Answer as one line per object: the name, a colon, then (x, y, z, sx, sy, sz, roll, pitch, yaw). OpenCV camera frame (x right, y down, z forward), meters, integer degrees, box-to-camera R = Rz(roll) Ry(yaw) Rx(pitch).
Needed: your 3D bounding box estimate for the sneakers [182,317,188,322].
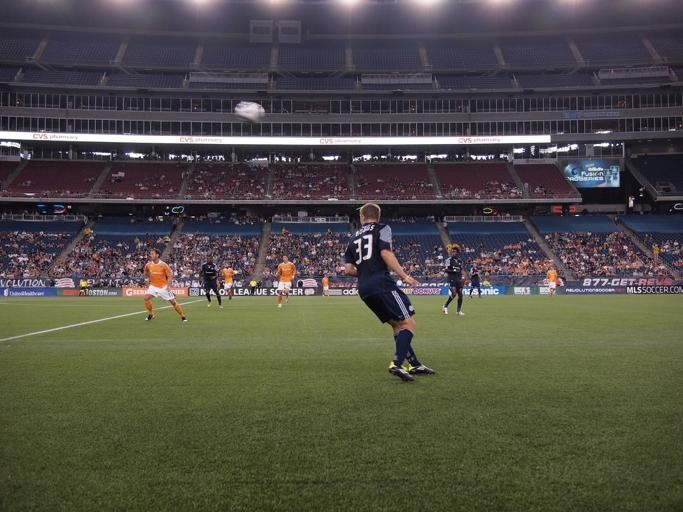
sneakers: (-8.771, 3.595, 37.993, 0.292, 0.268, 0.656, -2, -4, -14)

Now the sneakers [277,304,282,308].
sneakers: (-4.084, 3.393, 45.113, 0.198, 0.239, 0.569, 1, -10, -2)

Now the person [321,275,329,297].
person: (-1.341, 2.646, 57.994, 0.607, 1.622, 1.223, -3, -4, -2)

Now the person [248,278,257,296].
person: (-7.575, 2.742, 58.352, 0.634, 1.337, 1.340, -2, -4, -10)
